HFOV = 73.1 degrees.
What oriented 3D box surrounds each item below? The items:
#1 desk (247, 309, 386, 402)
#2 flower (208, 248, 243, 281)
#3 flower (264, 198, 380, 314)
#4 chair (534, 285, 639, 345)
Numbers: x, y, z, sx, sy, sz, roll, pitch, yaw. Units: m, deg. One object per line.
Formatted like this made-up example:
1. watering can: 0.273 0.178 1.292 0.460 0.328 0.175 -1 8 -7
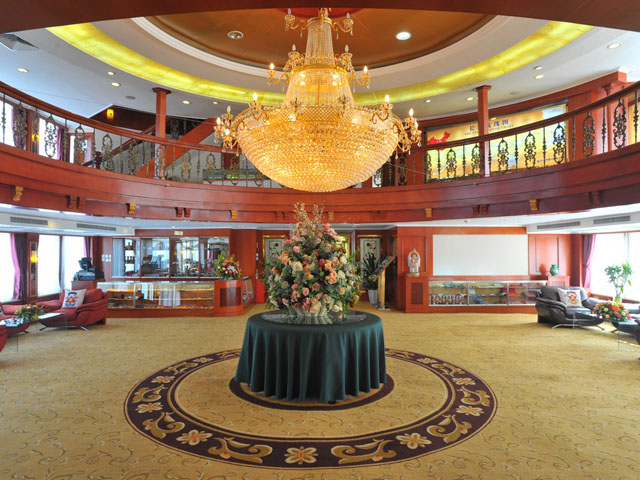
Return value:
1. desk: -0.036 1.833 7.614 2.755 0.865 2.619 -1 0 -36
2. flower: -2.911 0.767 13.515 0.934 0.882 0.743 -3 12 30
3. flower: -0.083 0.395 7.366 1.351 1.201 1.241 4 16 21
4. chair: 6.809 1.857 11.163 1.530 0.963 2.906 -1 8 -6
